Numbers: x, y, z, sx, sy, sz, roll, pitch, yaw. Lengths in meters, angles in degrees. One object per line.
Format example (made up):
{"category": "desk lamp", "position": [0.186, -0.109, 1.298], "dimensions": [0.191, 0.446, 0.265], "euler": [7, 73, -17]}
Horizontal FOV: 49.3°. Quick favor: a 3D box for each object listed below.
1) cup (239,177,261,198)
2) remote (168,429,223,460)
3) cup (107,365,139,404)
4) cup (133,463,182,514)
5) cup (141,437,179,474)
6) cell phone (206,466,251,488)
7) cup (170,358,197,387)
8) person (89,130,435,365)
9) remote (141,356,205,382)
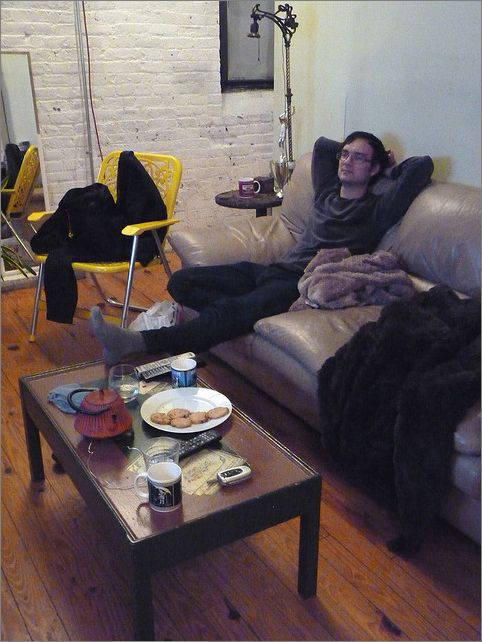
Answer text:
{"category": "cup", "position": [0.050, -0.754, 2.959], "dimensions": [0.103, 0.115, 0.160], "euler": [18, 25, 38]}
{"category": "remote", "position": [-0.089, 0.237, 1.042], "dimensions": [0.032, 0.015, 0.108], "euler": [24, 29, 35]}
{"category": "cup", "position": [-0.272, 0.143, 1.228], "dimensions": [0.084, 0.083, 0.083], "euler": [0, 14, 0]}
{"category": "cup", "position": [-0.140, 0.271, 0.861], "dimensions": [0.076, 0.057, 0.049], "euler": [8, 13, 30]}
{"category": "cup", "position": [-0.142, 0.231, 0.935], "dimensions": [0.052, 0.047, 0.066], "euler": [1, 11, 0]}
{"category": "cell phone", "position": [-0.026, 0.268, 0.929], "dimensions": [0.061, 0.014, 0.031], "euler": [-10, 17, -24]}
{"category": "cup", "position": [-0.140, 0.120, 1.281], "dimensions": [0.053, 0.052, 0.069], "euler": [0, 24, 0]}
{"category": "person", "position": [0.104, -0.302, 1.955], "dimensions": [1.433, 0.751, 0.643], "euler": [-17, 30, -41]}
{"category": "remote", "position": [-0.196, 0.119, 1.396], "dimensions": [0.129, 0.021, 0.070], "euler": [-15, 24, -34]}
